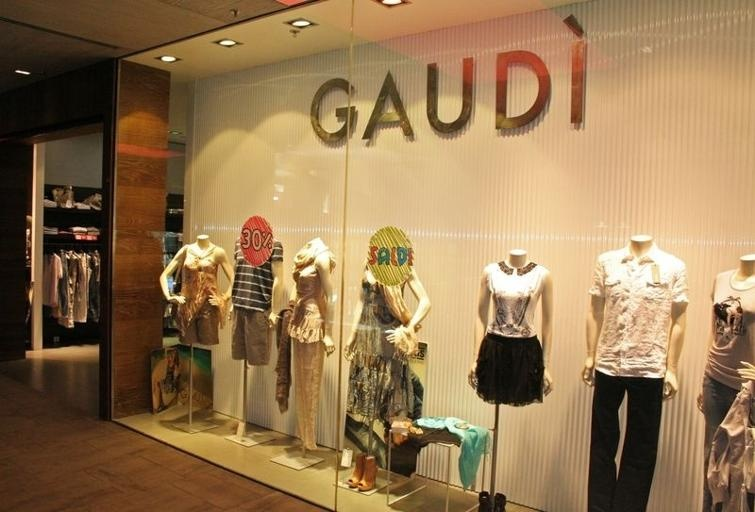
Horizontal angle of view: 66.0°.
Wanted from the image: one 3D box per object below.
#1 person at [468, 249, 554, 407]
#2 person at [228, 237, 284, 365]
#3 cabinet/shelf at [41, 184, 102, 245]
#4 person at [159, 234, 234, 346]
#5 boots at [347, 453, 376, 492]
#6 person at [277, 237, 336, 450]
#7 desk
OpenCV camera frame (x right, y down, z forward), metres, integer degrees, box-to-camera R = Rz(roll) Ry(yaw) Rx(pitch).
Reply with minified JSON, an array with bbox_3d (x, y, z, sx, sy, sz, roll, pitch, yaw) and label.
[{"bbox_3d":[0.855,0.442,3.585,0.463,0.913,0.248,4,11,12],"label":"person"},{"bbox_3d":[-0.934,0.340,4.375,0.527,0.954,0.157,11,14,38],"label":"person"},{"bbox_3d":[-4.505,-0.597,8.457,0.313,0.917,0.929,0,0,43],"label":"cabinet/shelf"},{"bbox_3d":[-1.491,0.270,4.773,0.198,0.937,0.869,-9,15,-43],"label":"person"},{"bbox_3d":[-0.099,1.476,3.992,0.184,0.221,0.218,-2,-7,45],"label":"boots"},{"bbox_3d":[-0.483,0.614,4.144,0.267,1.484,0.422,-6,14,-36],"label":"person"},{"bbox_3d":[0.424,1.244,3.882,0.624,0.619,0.546,-2,-9,38],"label":"desk"}]
